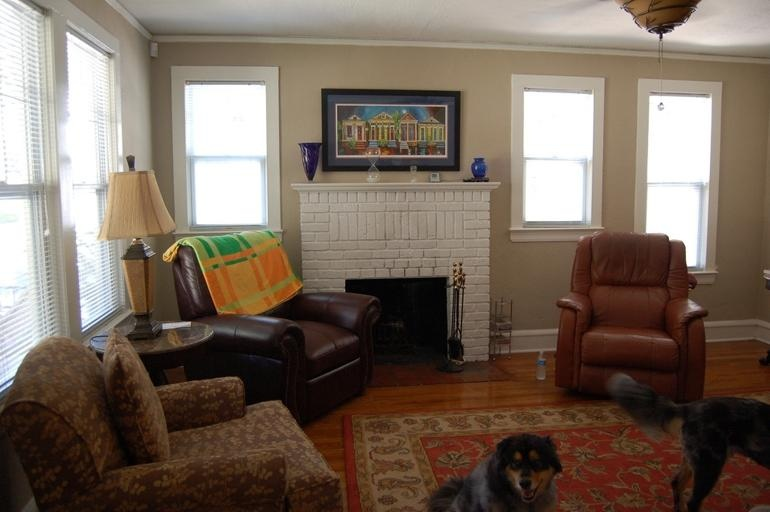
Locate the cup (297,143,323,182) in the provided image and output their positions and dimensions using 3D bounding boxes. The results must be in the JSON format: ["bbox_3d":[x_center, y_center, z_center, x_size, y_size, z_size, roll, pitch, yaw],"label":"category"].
[{"bbox_3d":[-0.695,-0.829,5.253,0.272,0.339,0.274,-5,6,1],"label":"cup"}]

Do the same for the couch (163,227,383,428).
[{"bbox_3d":[-0.829,0.502,4.646,1.199,1.229,1.447,6,7,31],"label":"couch"}]

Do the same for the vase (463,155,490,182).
[{"bbox_3d":[0.846,-0.798,5.450,0.264,0.242,0.232,-1,3,-7],"label":"vase"}]

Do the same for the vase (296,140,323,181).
[{"bbox_3d":[-0.660,-0.845,5.182,0.315,0.377,0.317,1,4,-1],"label":"vase"}]

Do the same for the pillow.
[{"bbox_3d":[-1.237,0.710,2.892,0.201,0.405,0.550,-6,13,-20],"label":"pillow"}]

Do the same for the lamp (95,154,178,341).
[{"bbox_3d":[-1.557,-0.064,3.686,0.395,1.109,0.394,-13,19,-43],"label":"lamp"}]

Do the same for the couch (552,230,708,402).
[{"bbox_3d":[2.051,0.474,5.001,1.198,1.178,1.419,1,9,9],"label":"couch"}]
